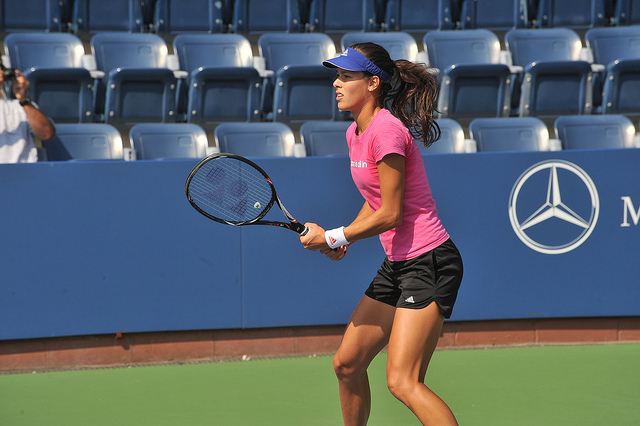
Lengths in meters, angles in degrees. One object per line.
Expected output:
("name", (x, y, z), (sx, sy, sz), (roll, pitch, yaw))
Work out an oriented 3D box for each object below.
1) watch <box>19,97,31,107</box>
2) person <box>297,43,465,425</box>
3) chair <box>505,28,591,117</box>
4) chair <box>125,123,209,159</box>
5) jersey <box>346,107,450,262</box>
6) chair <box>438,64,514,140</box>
("watch", (-2.715, -1.031, 9.562), (0.067, 0.032, 0.089), (-16, 2, -34))
("person", (0.552, 0.184, 7.910), (1.131, 2.931, 0.737), (5, 9, 21))
("chair", (2.488, -1.572, 11.492), (0.881, 0.932, 1.125), (3, 9, 8))
("chair", (-1.461, -0.699, 9.996), (0.518, 0.445, 0.420), (2, -9, -20))
("jersey", (0.594, -0.207, 7.851), (0.775, 1.140, 0.281), (2, 9, 6))
("chair", (1.603, -1.294, 11.315), (0.870, 1.096, 0.834), (-2, 20, -1))
